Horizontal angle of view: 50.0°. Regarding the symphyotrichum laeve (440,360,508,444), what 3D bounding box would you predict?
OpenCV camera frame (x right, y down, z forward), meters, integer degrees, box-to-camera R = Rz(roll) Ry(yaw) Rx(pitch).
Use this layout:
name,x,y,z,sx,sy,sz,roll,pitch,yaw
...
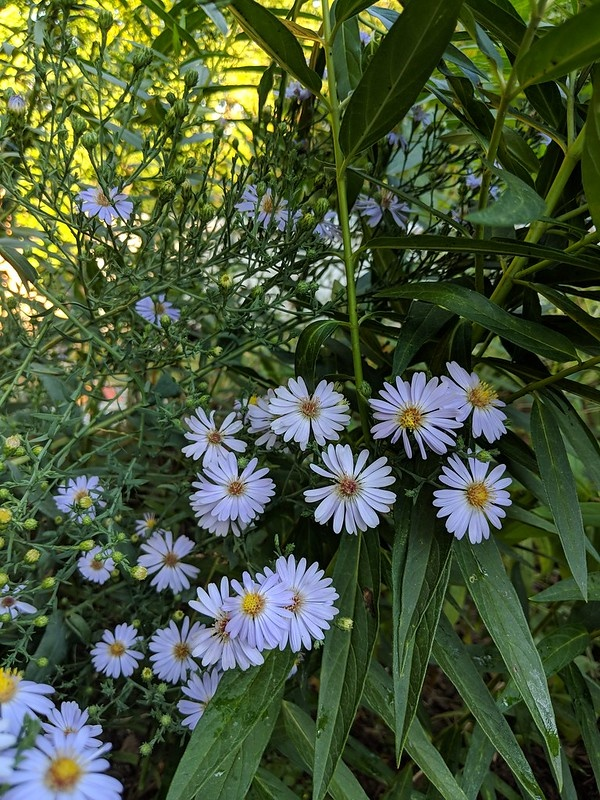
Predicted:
name,x,y,z,sx,sy,sz,roll,pitch,yaw
symphyotrichum laeve,0.198,0.006,0.711,0.059,0.085,0.154,-1,-11,23
